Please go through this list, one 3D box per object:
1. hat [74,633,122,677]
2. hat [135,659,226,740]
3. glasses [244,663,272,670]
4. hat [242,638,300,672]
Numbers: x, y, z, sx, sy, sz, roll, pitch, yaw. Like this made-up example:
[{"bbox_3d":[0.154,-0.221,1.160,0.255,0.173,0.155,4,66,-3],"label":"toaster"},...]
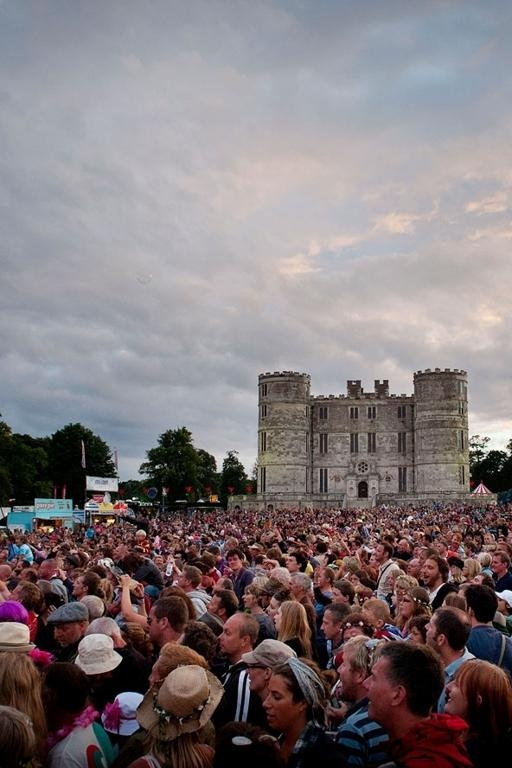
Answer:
[{"bbox_3d":[-1.036,1.774,4.838,0.278,0.133,0.311,-7,18,-15],"label":"hat"},{"bbox_3d":[-0.371,1.651,3.797,0.329,0.441,0.155,30,-30,39],"label":"hat"},{"bbox_3d":[0.028,1.767,4.648,0.092,0.027,0.092,-4,-20,30],"label":"glasses"},{"bbox_3d":[0.079,1.685,4.614,0.318,0.148,0.201,2,-15,3],"label":"hat"}]
